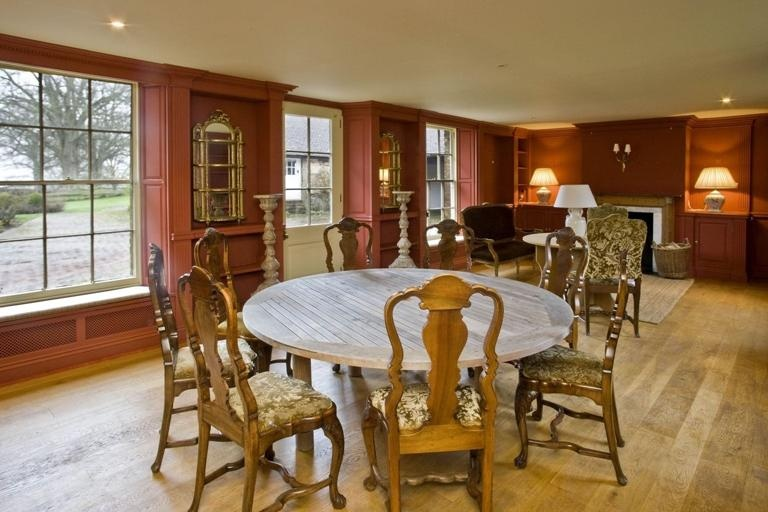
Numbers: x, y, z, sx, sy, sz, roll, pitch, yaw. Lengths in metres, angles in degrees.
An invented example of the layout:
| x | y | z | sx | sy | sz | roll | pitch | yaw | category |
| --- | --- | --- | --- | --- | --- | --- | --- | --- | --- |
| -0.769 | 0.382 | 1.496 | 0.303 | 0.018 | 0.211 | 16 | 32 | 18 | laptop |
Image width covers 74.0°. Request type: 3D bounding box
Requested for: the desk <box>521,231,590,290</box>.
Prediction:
| x | y | z | sx | sy | sz | roll | pitch | yaw | category |
| --- | --- | --- | --- | --- | --- | --- | --- | --- | --- |
| 1.860 | 0.040 | 5.528 | 0.766 | 0.766 | 0.531 | 3 | 3 | 44 | desk |

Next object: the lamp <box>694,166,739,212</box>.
| x | y | z | sx | sy | sz | roll | pitch | yaw | category |
| --- | --- | --- | --- | --- | --- | --- | --- | --- | --- |
| 5.372 | -1.066 | 8.310 | 0.659 | 0.794 | 0.676 | -3 | 3 | -28 | lamp |

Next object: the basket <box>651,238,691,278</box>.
| x | y | z | sx | sy | sz | roll | pitch | yaw | category |
| --- | --- | --- | --- | --- | --- | --- | --- | --- | --- |
| 4.707 | 0.058 | 8.321 | 0.531 | 0.631 | 0.600 | -3 | -1 | 42 | basket |

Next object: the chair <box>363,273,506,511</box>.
| x | y | z | sx | sy | sz | roll | pitch | yaw | category |
| --- | --- | --- | --- | --- | --- | --- | --- | --- | --- |
| 0.290 | 0.877 | 3.275 | 0.897 | 1.620 | 0.482 | -2 | 9 | 0 | chair |

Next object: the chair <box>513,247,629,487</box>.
| x | y | z | sx | sy | sz | roll | pitch | yaw | category |
| --- | --- | --- | --- | --- | --- | --- | --- | --- | --- |
| 1.376 | 0.761 | 3.757 | 0.759 | 1.591 | 0.722 | 1 | 9 | 22 | chair |

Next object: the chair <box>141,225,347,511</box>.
| x | y | z | sx | sy | sz | roll | pitch | yaw | category |
| --- | --- | --- | --- | --- | --- | --- | --- | --- | --- |
| -1.122 | 0.891 | 3.881 | 0.843 | 1.429 | 1.747 | -5 | 10 | -34 | chair |

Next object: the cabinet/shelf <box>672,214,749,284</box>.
| x | y | z | sx | sy | sz | roll | pitch | yaw | category |
| --- | --- | --- | --- | --- | --- | --- | --- | --- | --- |
| 5.312 | -0.089 | 8.240 | 1.050 | 1.196 | 0.446 | 0 | 1 | 37 | cabinet/shelf |

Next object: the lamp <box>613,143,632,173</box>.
| x | y | z | sx | sy | sz | roll | pitch | yaw | category |
| --- | --- | --- | --- | --- | --- | --- | --- | --- | --- |
| 4.169 | -1.741 | 8.994 | 0.324 | 0.505 | 0.180 | 3 | 11 | 33 | lamp |

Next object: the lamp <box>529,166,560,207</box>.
| x | y | z | sx | sy | sz | roll | pitch | yaw | category |
| --- | --- | --- | --- | --- | --- | --- | --- | --- | --- |
| 3.080 | -1.358 | 10.054 | 0.651 | 0.786 | 0.670 | -2 | 0 | -4 | lamp |

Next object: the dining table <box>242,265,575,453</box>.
| x | y | z | sx | sy | sz | roll | pitch | yaw | category |
| --- | --- | --- | --- | --- | --- | --- | --- | --- | --- |
| 0.074 | 0.482 | 3.645 | 1.709 | 0.668 | 1.765 | 4 | 11 | 32 | dining table |

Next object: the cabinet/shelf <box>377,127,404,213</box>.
| x | y | z | sx | sy | sz | roll | pitch | yaw | category |
| --- | --- | --- | --- | --- | --- | --- | --- | --- | --- |
| 0.065 | -1.253 | 7.506 | 0.136 | 1.144 | 0.576 | 3 | 10 | 29 | cabinet/shelf |
